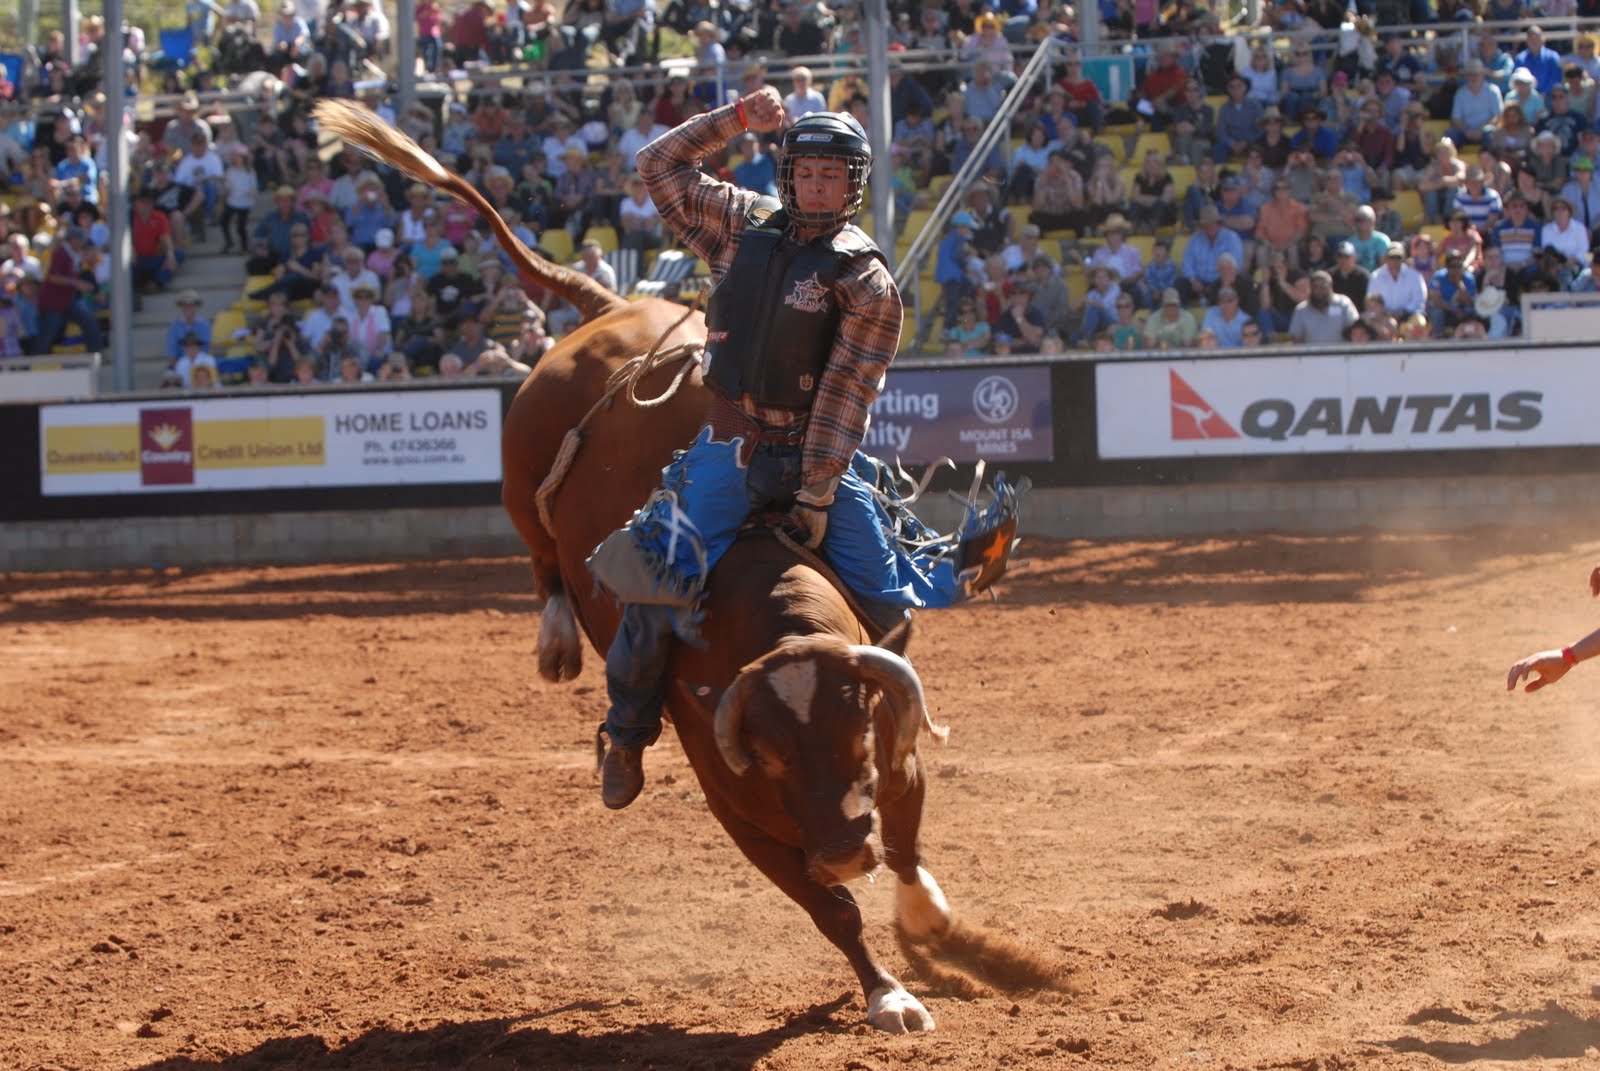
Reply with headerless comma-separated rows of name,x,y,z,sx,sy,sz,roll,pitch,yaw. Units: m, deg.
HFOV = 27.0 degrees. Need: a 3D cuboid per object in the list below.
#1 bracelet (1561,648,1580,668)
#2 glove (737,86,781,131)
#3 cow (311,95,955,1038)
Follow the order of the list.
bracelet,6.571,1.041,28.107,0.138,0.100,0.137,24,-9,-34
glove,-0.298,-3.558,28.794,0.364,0.382,0.621,4,25,13
cow,-0.847,0.833,28.966,1.886,6.157,4.948,-8,14,-39
